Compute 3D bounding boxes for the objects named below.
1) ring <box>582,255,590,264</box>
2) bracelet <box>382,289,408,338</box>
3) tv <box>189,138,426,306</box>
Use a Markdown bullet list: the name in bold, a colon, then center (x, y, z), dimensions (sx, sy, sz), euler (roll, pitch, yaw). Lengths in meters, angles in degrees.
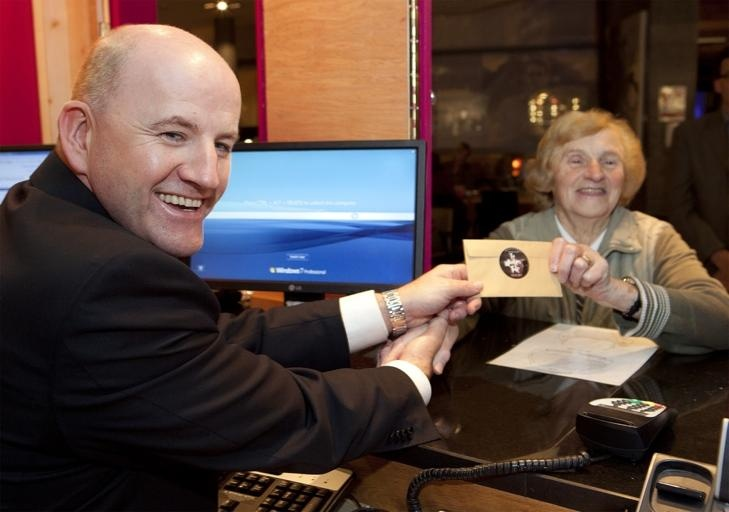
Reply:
- **ring**: center (0.626, 0.011, 1.713), dimensions (0.027, 0.011, 0.021), euler (41, 16, 20)
- **bracelet**: center (0.082, 0.156, 1.625), dimensions (0.080, 0.105, 0.126), euler (-12, -11, 0)
- **tv**: center (-0.191, -0.102, 1.948), dimensions (0.790, 0.477, 0.138), euler (2, 5, 18)
